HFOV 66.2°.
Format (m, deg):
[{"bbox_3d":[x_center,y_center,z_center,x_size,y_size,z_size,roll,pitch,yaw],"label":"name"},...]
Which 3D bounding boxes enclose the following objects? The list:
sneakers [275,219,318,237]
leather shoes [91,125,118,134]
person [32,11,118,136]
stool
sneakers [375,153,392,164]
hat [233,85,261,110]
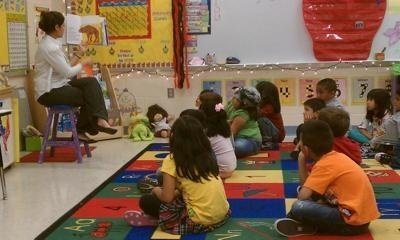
[{"bbox_3d":[0.749,0.839,2.478,0.320,0.142,0.130,6,1,-5],"label":"sneakers"},{"bbox_3d":[-1.251,0.123,4.089,0.352,0.104,0.093,7,15,33],"label":"leather shoes"},{"bbox_3d":[-1.744,-0.611,4.183,1.059,1.715,0.379,1,12,11],"label":"person"},{"bbox_3d":[-1.940,0.180,4.596,0.815,0.993,0.699,1,1,-4],"label":"stool"},{"bbox_3d":[2.322,0.486,3.915,0.144,0.074,0.111,3,0,-40],"label":"sneakers"},{"bbox_3d":[0.677,-0.353,4.295,0.322,0.258,0.271,23,-3,-26],"label":"hat"}]
